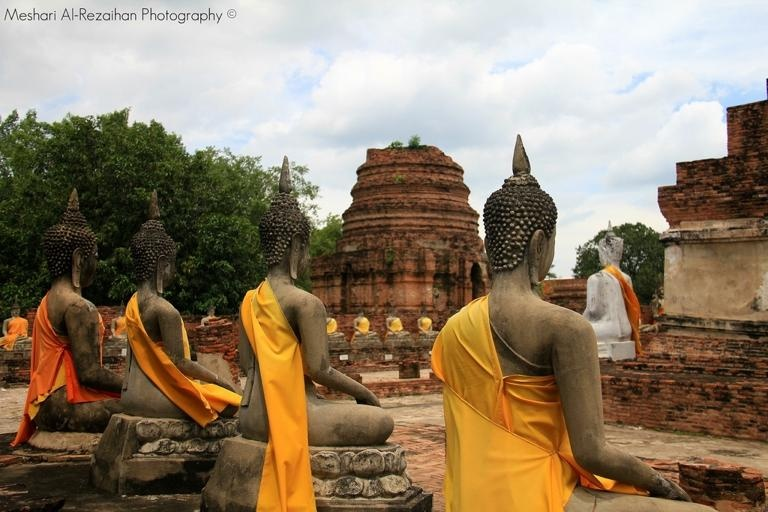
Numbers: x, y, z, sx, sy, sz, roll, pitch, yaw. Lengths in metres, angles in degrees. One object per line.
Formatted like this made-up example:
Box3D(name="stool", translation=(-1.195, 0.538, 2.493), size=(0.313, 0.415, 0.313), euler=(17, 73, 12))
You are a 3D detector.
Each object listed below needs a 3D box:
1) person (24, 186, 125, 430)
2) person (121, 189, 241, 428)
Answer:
Box3D(name="person", translation=(-4.005, 0.710, 11.830), size=(1.245, 3.084, 0.419), euler=(-2, -6, 13))
Box3D(name="person", translation=(-2.560, 0.688, 11.204), size=(1.277, 2.737, 0.426), euler=(-2, -6, 10))
